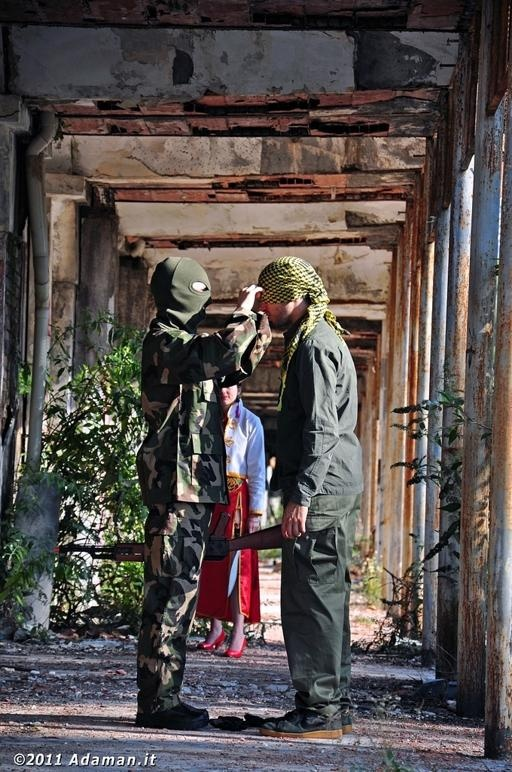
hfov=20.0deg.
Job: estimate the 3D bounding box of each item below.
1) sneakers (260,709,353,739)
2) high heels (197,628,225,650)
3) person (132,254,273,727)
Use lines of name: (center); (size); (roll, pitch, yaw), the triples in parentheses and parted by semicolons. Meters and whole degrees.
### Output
sneakers: (0.204, 1.381, 5.913); (0.355, 0.159, 0.133); (4, -12, -5)
high heels: (-0.249, 1.478, 8.308); (0.060, 0.111, 0.185); (-11, -22, 29)
person: (-0.253, 0.521, 5.831); (0.515, 1.707, 0.430); (4, -10, -5)
